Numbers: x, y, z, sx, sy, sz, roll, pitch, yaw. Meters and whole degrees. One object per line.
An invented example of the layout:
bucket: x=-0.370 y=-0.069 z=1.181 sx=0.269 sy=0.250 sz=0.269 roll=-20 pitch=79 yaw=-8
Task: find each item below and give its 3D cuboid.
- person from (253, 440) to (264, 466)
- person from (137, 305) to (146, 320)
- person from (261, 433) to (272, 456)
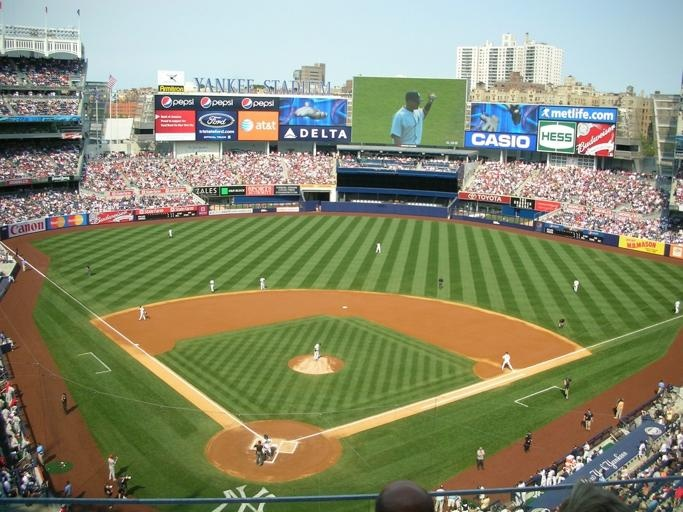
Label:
person: x=-4.262 y=10.302 z=34.169 sx=0.538 sy=0.638 sz=1.014 roll=5 pitch=40 yaw=-8
person: x=-15.678 y=4.412 z=51.355 sx=0.685 sy=0.997 sz=2.196 roll=-2 pitch=8 yaw=-18
person: x=-3.935 y=10.060 z=34.582 sx=0.676 sy=0.993 sz=0.453 roll=-6 pitch=-3 yaw=20
